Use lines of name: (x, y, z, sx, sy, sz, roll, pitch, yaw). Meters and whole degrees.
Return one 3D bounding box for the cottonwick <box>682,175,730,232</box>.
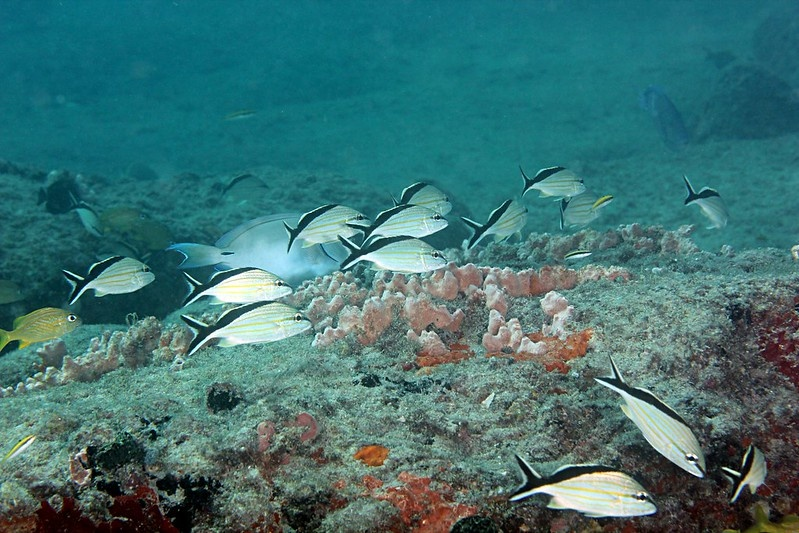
cottonwick: (6.709, -1.375, 14.953, 0.261, 0.786, 1.540, -22, 34, -16)
